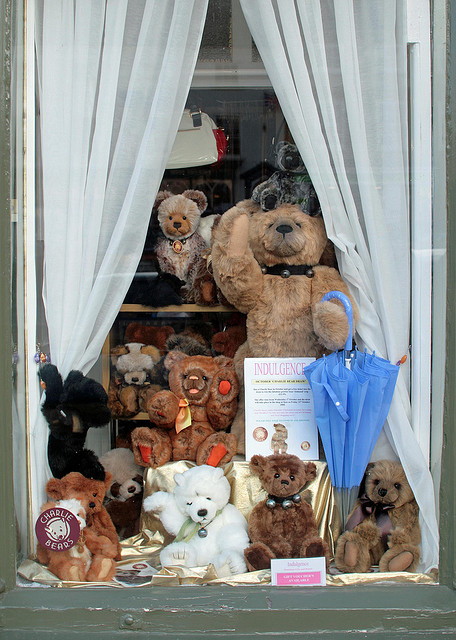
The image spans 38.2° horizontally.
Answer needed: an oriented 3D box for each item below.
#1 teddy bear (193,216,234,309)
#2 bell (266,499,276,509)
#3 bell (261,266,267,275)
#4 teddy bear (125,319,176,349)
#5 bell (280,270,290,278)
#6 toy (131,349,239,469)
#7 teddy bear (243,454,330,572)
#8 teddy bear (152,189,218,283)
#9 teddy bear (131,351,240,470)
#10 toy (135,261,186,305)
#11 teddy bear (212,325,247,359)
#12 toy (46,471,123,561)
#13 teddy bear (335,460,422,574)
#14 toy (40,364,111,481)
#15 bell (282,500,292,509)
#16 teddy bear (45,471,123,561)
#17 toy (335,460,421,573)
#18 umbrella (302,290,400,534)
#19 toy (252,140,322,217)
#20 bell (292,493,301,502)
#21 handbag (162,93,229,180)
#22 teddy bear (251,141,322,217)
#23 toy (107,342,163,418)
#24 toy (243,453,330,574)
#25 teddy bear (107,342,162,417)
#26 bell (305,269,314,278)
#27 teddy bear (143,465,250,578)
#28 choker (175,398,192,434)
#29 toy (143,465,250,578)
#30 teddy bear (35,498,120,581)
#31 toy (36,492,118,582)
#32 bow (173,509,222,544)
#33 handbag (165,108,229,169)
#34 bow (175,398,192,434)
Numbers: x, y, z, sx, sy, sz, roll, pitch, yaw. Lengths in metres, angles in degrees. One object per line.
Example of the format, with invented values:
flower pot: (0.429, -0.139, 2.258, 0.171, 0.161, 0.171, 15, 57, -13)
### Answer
teddy bear: (-0.031, -0.197, 2.275, 0.150, 0.293, 0.127, 1, 1, 19)
bell: (0.124, 0.539, 1.920, 0.021, 0.021, 0.013, 12, -22, 16)
bell: (0.118, -0.163, 2.140, 0.021, 0.021, 0.019, -8, 22, 11)
teddy bear: (-0.272, 0.048, 2.265, 0.114, 0.110, 0.041, 16, 7, -18)
bell: (0.185, -0.148, 2.112, 0.023, 0.022, 0.015, -26, -2, 12)
toy: (-0.126, 0.293, 2.110, 0.338, 0.364, 0.272, 3, 1, 6)
teddy bear: (0.174, 0.558, 1.897, 0.244, 0.320, 0.222, -3, -8, 20)
teddy bear: (-0.153, -0.275, 2.223, 0.298, 0.326, 0.173, -5, 8, -13)
teddy bear: (-0.081, 0.250, 2.194, 0.414, 0.440, 0.320, 2, 1, 3)
toy: (-0.231, -0.118, 2.195, 0.054, 0.148, 0.189, 8, 15, 43)
teddy bear: (0.006, 0.069, 2.256, 0.083, 0.129, 0.050, 23, 7, 23)
toy: (-0.424, 0.594, 1.913, 0.211, 0.270, 0.165, -1, 8, -15)
teddy bear: (0.439, 0.579, 1.913, 0.245, 0.303, 0.252, 5, -3, -7)
toy: (-0.447, 0.309, 1.944, 0.195, 0.360, 0.089, -5, 11, -11)
bell: (0.172, 0.539, 1.918, 0.019, 0.025, 0.023, 6, -4, 41)
teddy bear: (-0.426, 0.589, 1.915, 0.233, 0.276, 0.174, 1, 5, -17)
toy: (0.441, 0.578, 1.920, 0.222, 0.303, 0.248, 5, -2, 14)
umbrella: (0.355, 0.313, 1.972, 0.290, 0.750, 0.291, 5, 12, 34)
toy: (0.198, -0.451, 2.084, 0.232, 0.232, 0.072, 7, 16, 22)
bell: (0.201, 0.524, 1.926, 0.022, 0.018, 0.018, 37, 51, 6)
handbag: (-0.110, -0.603, 2.232, 0.175, 0.125, 0.280, -1, -33, -6)
teddy bear: (0.201, -0.460, 2.102, 0.226, 0.229, 0.139, 3, 4, 3)
toy: (-0.319, 0.205, 2.216, 0.197, 0.258, 0.152, -10, 39, -19)
toy: (0.160, 0.554, 1.922, 0.324, 0.432, 0.283, 0, -13, -2)
teddy bear: (-0.319, 0.203, 2.230, 0.182, 0.247, 0.141, -7, 27, -19)
bell: (0.262, -0.151, 2.102, 0.023, 0.023, 0.013, 0, -10, 6)
teddy bear: (-0.056, 0.579, 2.012, 0.355, 0.383, 0.263, -4, -2, 4)
choker: (-0.133, 0.307, 2.057, 0.051, 0.094, 0.020, -3, -1, -12)
toy: (-0.091, 0.610, 1.944, 0.294, 0.325, 0.228, -5, 12, 0)
teddy bear: (-0.424, 0.618, 1.859, 0.189, 0.263, 0.183, -6, 13, -41)
toy: (-0.435, 0.620, 1.855, 0.178, 0.249, 0.186, 1, 16, 38)
bow: (-0.095, 0.612, 1.947, 0.084, 0.112, 0.036, 38, -3, 35)
handbag: (-0.101, -0.614, 2.254, 0.163, 0.115, 0.258, -2, -3, 0)
bow: (-0.141, 0.304, 2.067, 0.050, 0.095, 0.024, -3, -1, -10)
